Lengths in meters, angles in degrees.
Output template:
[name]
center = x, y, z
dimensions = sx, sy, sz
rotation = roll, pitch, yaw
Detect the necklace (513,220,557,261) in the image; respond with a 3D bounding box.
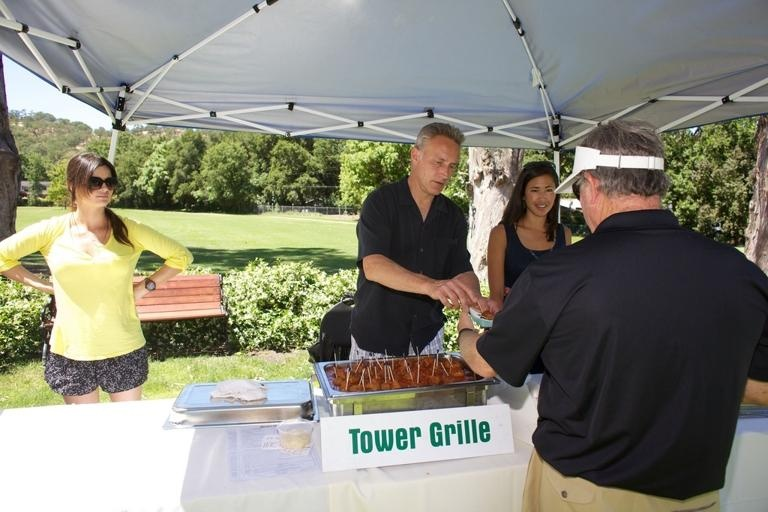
[necklace]
center = 1.208, -0.137, 4.321
dimensions = 0.289, 0.293, 0.078
rotation = -4, -11, -12

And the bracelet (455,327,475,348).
[bracelet]
center = 0.419, 0.400, 2.877
dimensions = 0.085, 0.089, 0.093
rotation = -18, 0, 3

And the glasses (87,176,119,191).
[glasses]
center = -1.860, -0.485, 3.750
dimensions = 0.105, 0.109, 0.247
rotation = 1, 4, 13

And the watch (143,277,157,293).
[watch]
center = -1.764, 0.200, 4.210
dimensions = 0.056, 0.112, 0.083
rotation = -19, -17, 30
